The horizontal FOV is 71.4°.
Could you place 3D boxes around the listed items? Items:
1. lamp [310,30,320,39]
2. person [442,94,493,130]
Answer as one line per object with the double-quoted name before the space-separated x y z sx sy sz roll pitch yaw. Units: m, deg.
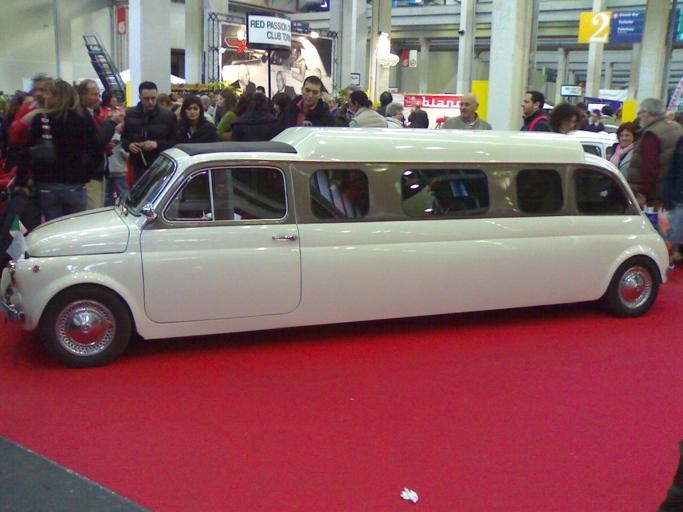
"lamp" -1.723 -14.058 30.242 0.372 0.374 0.635 2 15 -11
"person" 2.106 -2.364 7.912 0.860 0.671 0.440 12 32 32
